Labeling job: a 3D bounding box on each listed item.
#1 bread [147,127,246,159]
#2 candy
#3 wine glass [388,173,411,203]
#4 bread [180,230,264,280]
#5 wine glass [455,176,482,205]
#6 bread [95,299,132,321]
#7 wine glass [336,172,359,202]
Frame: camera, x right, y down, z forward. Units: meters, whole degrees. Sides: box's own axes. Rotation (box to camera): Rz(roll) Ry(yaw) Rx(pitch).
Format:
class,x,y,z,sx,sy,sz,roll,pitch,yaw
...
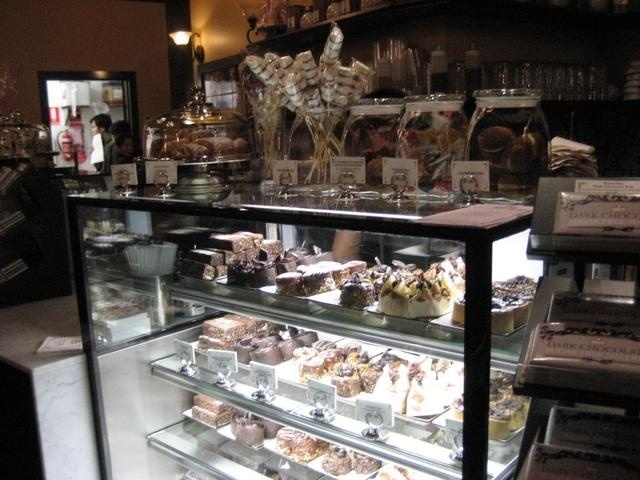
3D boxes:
class,x,y,z,sx,sy,sz,roll,pitch,yaw
bread,-0.417,-0.400,1.936,0.394,0.120,0.297,10,17,35
candy,0.017,-0.423,1.774,0.333,0.579,0.410,-13,20,-36
wine glass,0.231,-0.157,1.417,0.082,0.095,0.076,0,10,1
bread,-0.342,0.058,1.773,0.291,0.128,0.201,-3,13,40
wine glass,0.379,-0.133,1.317,0.080,0.076,0.075,-4,5,-5
bread,-0.862,0.294,2.030,0.112,0.024,0.109,-4,10,-44
wine glass,0.097,-0.169,1.549,0.083,0.079,0.078,4,24,11
